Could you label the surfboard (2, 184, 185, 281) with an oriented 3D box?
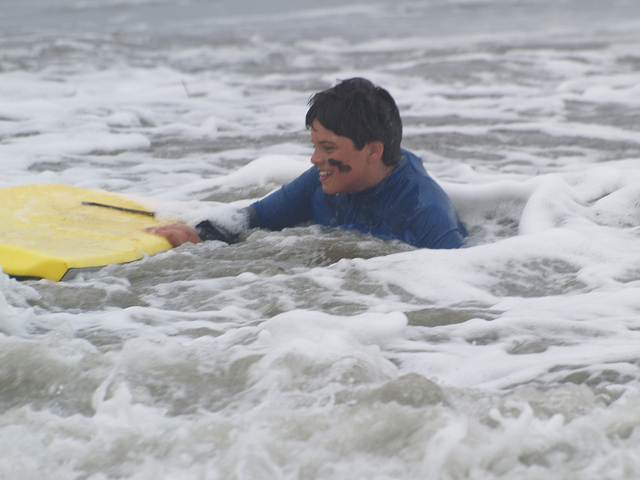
[{"bbox_3d":[-1.556,-0.073,5.734,1.143,0.336,1.374,-2,15,-9],"label":"surfboard"}]
